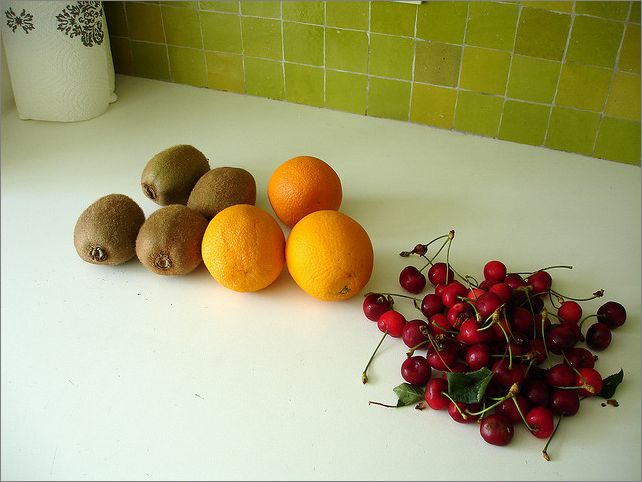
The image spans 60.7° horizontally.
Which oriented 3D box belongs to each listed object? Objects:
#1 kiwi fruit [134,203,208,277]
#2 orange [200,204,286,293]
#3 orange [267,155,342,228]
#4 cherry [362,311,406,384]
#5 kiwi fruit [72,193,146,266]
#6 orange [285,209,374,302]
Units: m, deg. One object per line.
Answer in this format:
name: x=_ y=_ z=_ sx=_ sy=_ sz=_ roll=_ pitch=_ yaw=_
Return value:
kiwi fruit: x=-0.240 y=0.003 z=0.885 sx=0.115 sy=0.105 sz=0.058 roll=-2 pitch=25 yaw=-11
orange: x=-0.121 y=0.016 z=0.853 sx=0.131 sy=0.126 sz=0.061 roll=0 pitch=25 yaw=-6
orange: x=-0.036 y=-0.101 z=0.992 sx=0.121 sy=0.115 sz=0.184 roll=-8 pitch=37 yaw=-12
cherry: x=0.094 y=0.159 z=0.831 sx=0.042 sy=0.117 sz=0.044 roll=21 pitch=-10 yaw=32
kiwi fruit: x=-0.351 y=-0.016 z=0.916 sx=0.114 sy=0.105 sz=0.062 roll=-7 pitch=26 yaw=-20
orange: x=0.020 y=0.025 z=0.897 sx=0.121 sy=0.131 sz=0.189 roll=-1 pitch=34 yaw=-1
